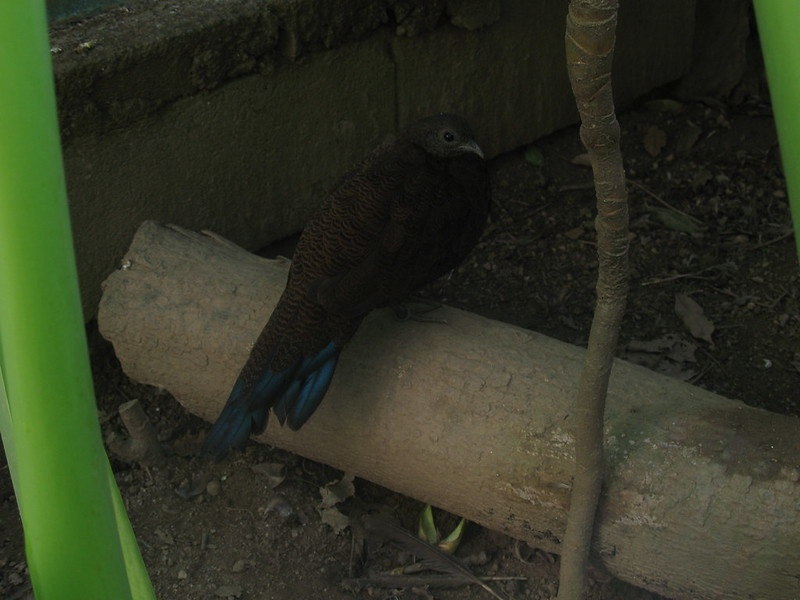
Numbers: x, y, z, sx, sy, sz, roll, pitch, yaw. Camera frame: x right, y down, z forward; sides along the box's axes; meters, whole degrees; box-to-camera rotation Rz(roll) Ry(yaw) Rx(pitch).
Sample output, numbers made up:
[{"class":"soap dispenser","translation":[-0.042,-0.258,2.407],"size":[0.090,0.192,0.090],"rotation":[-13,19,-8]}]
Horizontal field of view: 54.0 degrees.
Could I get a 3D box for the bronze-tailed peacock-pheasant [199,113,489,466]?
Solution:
[{"class":"bronze-tailed peacock-pheasant","translation":[-0.194,-0.124,2.917],"size":[1.467,0.611,0.591],"rotation":[-39,52,-14]}]
